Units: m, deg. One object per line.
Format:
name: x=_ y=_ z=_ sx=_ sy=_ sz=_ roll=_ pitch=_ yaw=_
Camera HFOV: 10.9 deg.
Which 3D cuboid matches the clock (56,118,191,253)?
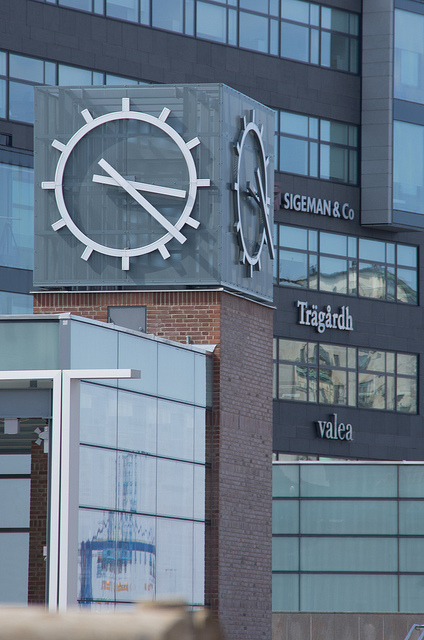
clock: x=-1.731 y=-2.479 z=45.651 sx=1.889 sy=2.738 sz=0.260 roll=5 pitch=-3 yaw=19
